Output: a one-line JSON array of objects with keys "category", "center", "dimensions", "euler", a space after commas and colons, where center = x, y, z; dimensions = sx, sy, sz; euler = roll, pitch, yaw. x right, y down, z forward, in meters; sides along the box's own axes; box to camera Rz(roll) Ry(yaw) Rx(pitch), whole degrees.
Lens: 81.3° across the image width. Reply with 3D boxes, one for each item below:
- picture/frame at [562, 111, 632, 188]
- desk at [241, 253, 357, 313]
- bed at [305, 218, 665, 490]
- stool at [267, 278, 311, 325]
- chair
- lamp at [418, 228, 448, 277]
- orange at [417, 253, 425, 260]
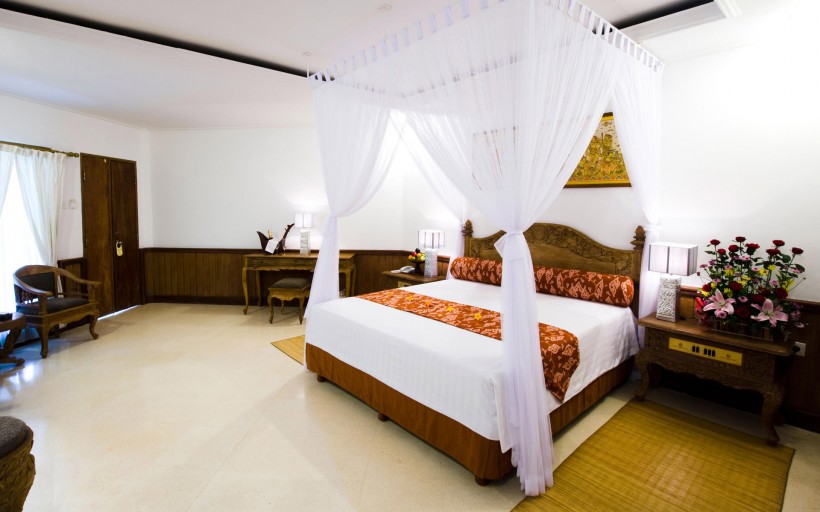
[{"category": "picture/frame", "center": [2.157, -1.233, 5.427], "dimensions": [0.080, 0.854, 0.838], "euler": [0, 29, -47]}, {"category": "desk", "center": [-1.976, 0.466, 8.503], "dimensions": [1.872, 1.068, 0.741], "euler": [1, 8, 3]}, {"category": "bed", "center": [1.051, 1.338, 5.917], "dimensions": [3.095, 2.264, 3.074], "euler": [10, 16, 44]}, {"category": "stool", "center": [-2.056, 0.731, 8.233], "dimensions": [0.664, 0.681, 0.778], "euler": [1, 6, 12]}, {"category": "chair", "center": [-5.191, 0.707, 6.860], "dimensions": [1.050, 1.145, 1.242], "euler": [9, 14, 33]}, {"category": "lamp", "center": [0.335, -0.043, 7.580], "dimensions": [0.464, 0.773, 0.444], "euler": [7, 7, 38]}, {"category": "orange", "center": [0.177, 0.006, 7.598], "dimensions": [0.084, 0.110, 0.033], "euler": [5, -1, -31]}]
